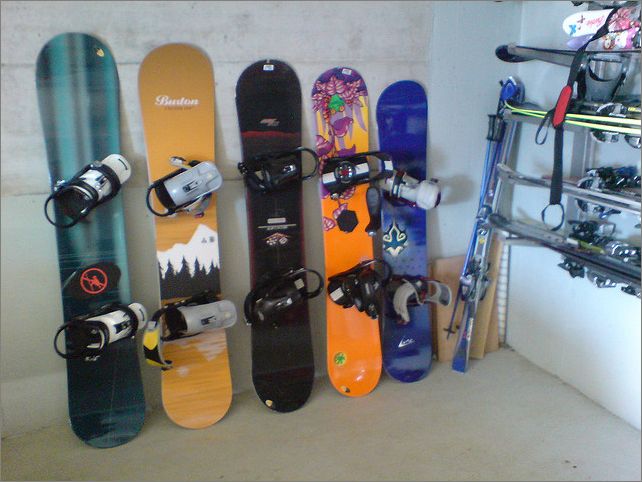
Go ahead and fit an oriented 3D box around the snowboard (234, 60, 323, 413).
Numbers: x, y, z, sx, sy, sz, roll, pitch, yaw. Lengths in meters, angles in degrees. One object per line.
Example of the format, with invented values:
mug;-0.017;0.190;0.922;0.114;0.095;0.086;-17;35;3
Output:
snowboard;-0.302;-0.012;3.945;0.630;2.376;0.420;-5;11;-11

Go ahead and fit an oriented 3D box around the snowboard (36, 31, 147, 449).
snowboard;-1.508;0.043;3.520;0.623;2.616;0.640;-6;19;-8

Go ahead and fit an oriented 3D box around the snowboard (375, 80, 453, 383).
snowboard;0.649;-0.065;4.069;0.414;2.220;0.110;-2;11;-17

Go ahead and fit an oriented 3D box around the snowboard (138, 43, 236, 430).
snowboard;-0.894;0.001;3.703;0.574;2.511;0.374;-6;12;-20
